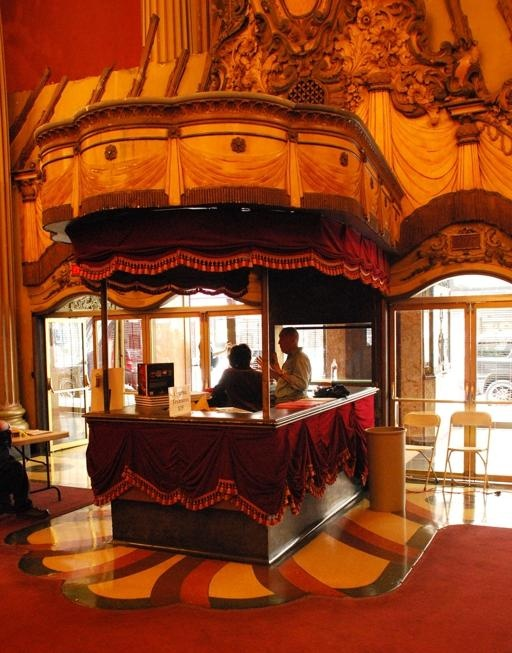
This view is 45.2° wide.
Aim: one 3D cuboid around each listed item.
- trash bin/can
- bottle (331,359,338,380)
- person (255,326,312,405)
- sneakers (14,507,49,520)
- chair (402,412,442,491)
[{"bbox_3d":[1.397,1.551,6.683,0.388,0.858,0.296,-1,-2,11],"label":"trash bin/can"},{"bbox_3d":[1.079,0.585,8.531,0.089,0.303,0.116,-1,-2,6],"label":"bottle"},{"bbox_3d":[0.366,0.397,6.598,0.407,0.835,0.774,-1,-2,3],"label":"person"},{"bbox_3d":[-2.359,2.008,6.673,0.359,0.108,0.178,-2,-2,22],"label":"sneakers"},{"bbox_3d":[2.206,1.573,8.233,0.458,0.884,0.979,-2,-2,15],"label":"chair"}]
